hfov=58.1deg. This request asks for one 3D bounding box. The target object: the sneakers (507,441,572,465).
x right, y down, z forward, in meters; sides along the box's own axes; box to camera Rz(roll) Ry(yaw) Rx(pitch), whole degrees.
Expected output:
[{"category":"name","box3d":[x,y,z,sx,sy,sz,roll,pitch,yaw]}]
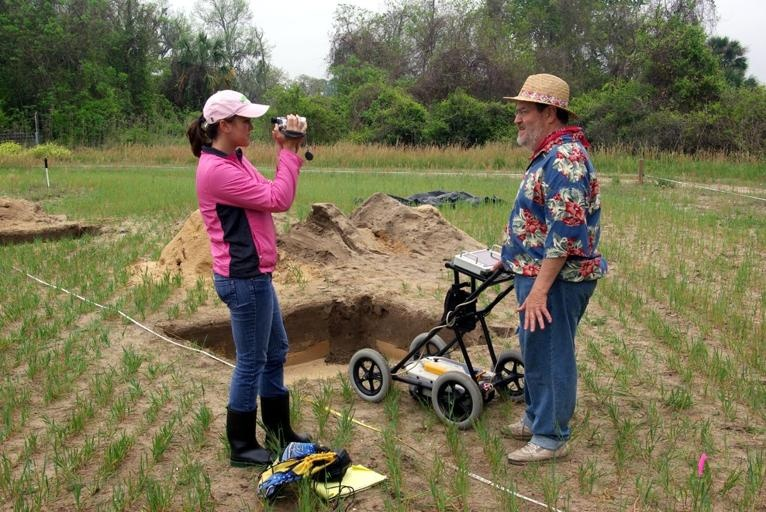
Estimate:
[{"category":"sneakers","box3d":[1.510,1.933,6.744,0.597,0.279,0.236,2,-1,-5]}]

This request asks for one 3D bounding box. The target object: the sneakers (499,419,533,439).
[{"category":"sneakers","box3d":[1.374,1.791,7.147,0.323,0.167,0.153,4,0,5]}]

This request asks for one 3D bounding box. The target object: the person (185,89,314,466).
[{"category":"person","box3d":[-1.293,0.225,6.657,1.073,3.545,0.851,2,9,-5]}]

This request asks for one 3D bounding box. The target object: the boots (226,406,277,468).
[{"category":"boots","box3d":[-1.275,1.774,6.743,0.486,0.558,0.265,3,2,-2]}]

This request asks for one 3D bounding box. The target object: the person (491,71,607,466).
[{"category":"person","box3d":[1.654,0.137,6.749,0.975,3.748,0.757,6,10,19]}]

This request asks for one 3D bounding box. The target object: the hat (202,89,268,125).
[{"category":"hat","box3d":[-1.430,-1.442,6.662,0.636,0.302,0.454,-8,14,-3]}]

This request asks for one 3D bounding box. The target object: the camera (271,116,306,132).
[{"category":"camera","box3d":[-0.900,-1.282,6.663,0.272,0.101,0.211,4,7,-17]}]

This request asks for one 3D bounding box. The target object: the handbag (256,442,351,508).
[{"category":"handbag","box3d":[-0.727,2.023,6.477,0.582,0.305,0.518,7,-11,-25]}]

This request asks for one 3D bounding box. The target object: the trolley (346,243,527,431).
[{"category":"trolley","box3d":[0.705,0.814,7.751,1.758,1.844,1.236,6,7,39]}]
